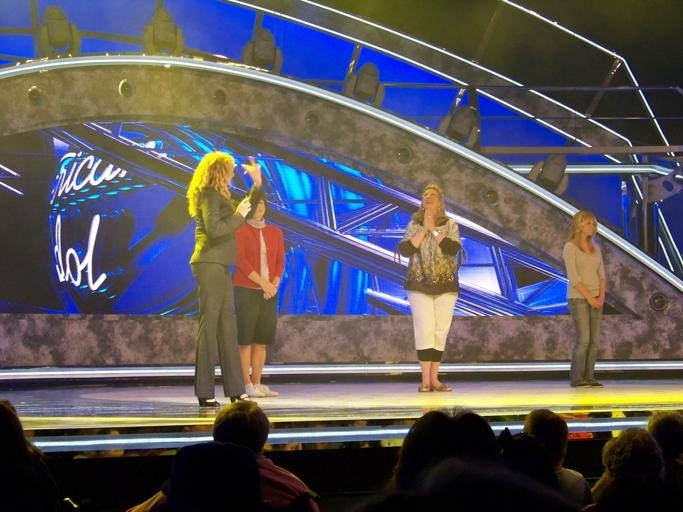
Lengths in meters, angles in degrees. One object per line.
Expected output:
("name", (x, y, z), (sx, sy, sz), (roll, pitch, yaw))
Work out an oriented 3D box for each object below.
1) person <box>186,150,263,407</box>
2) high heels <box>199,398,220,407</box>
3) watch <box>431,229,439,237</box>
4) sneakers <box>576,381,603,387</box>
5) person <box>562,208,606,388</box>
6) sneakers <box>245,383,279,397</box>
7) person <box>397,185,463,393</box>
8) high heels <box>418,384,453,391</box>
("person", (-1.032, 0.173, 5.979), (0.575, 2.106, 0.408), (3, -4, -9))
("high heels", (-1.060, 1.177, 5.786), (0.183, 0.070, 0.065), (0, -2, -13))
("watch", (0.897, -0.209, 6.826), (0.046, 0.063, 0.020), (2, -16, -4))
("sneakers", (2.543, 1.310, 7.292), (0.331, 0.047, 0.134), (4, -4, -24))
("person", (2.507, 0.440, 7.448), (0.401, 1.805, 0.302), (2, -4, 16))
("sneakers", (-0.747, 1.232, 6.578), (0.210, 0.077, 0.127), (-5, -8, 26))
("person", (0.823, 0.301, 6.815), (0.568, 1.957, 0.172), (3, -4, 4))
("high heels", (0.883, 1.214, 6.731), (0.304, 0.076, 0.105), (0, -3, -14))
